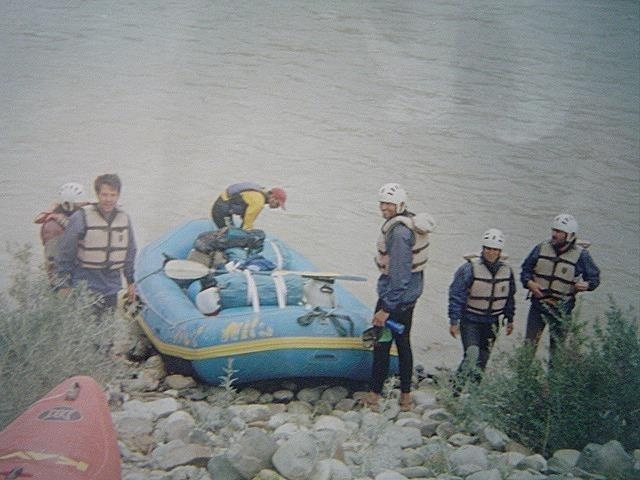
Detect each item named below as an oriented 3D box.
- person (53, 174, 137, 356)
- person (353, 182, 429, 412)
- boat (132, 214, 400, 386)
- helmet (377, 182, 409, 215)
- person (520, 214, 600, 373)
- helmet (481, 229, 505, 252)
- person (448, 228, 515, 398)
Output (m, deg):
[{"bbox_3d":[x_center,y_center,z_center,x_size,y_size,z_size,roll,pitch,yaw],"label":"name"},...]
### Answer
[{"bbox_3d":[-1.868,0.035,7.913,0.640,1.111,0.723,9,26,17],"label":"person"},{"bbox_3d":[0.649,0.492,7.523,0.464,1.831,0.691,4,26,4],"label":"person"},{"bbox_3d":[-0.717,0.581,7.810,1.388,0.566,1.833,-9,28,-40],"label":"boat"},{"bbox_3d":[0.633,-0.365,7.527,0.302,0.228,0.220,-17,26,-34],"label":"helmet"},{"bbox_3d":[2.041,0.399,7.860,0.666,1.112,0.879,9,25,16],"label":"person"},{"bbox_3d":[1.467,0.002,7.695,0.168,0.144,0.208,10,-19,13],"label":"helmet"},{"bbox_3d":[1.347,0.619,7.741,0.562,1.351,0.851,8,25,14],"label":"person"}]
